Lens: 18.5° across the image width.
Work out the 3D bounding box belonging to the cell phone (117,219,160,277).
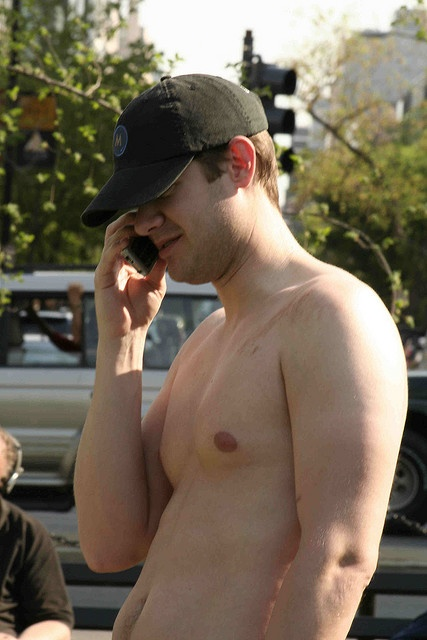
[{"bbox_3d":[-0.199,-0.196,3.603,0.103,0.102,0.028,-51,24,-21],"label":"cell phone"}]

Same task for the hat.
[{"bbox_3d":[-0.125,-0.419,3.342,0.420,0.248,0.290,-27,5,-13],"label":"hat"}]
